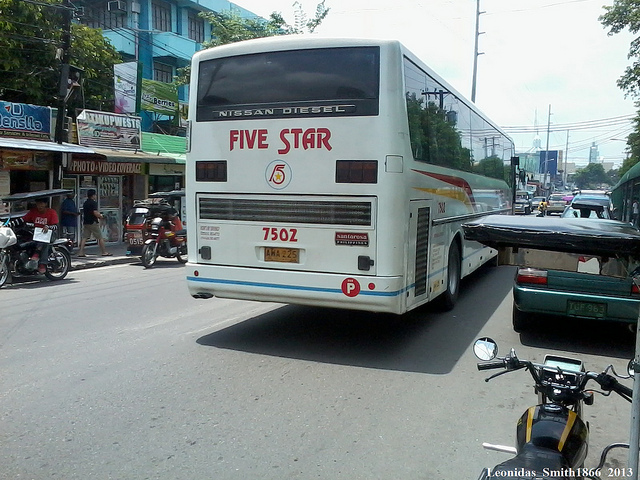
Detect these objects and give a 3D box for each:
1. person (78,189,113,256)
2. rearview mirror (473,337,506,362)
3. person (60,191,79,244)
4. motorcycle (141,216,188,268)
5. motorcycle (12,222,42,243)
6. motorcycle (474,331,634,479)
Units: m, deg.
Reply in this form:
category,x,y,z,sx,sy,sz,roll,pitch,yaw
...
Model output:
category,x,y,z,sx,sy,sz,roll,pitch,yaw
person,-7.862,-0.584,15.023,0.853,2.283,0.924,0,5,-11
rearview mirror,1.119,0.720,2.861,0.216,0.164,0.114,-1,5,-23
person,-8.483,-0.697,14.709,0.454,1.429,0.704,-4,7,-45
motorcycle,-5.098,-0.055,14.581,1.148,1.704,2.833,6,4,11
motorcycle,-7.465,-0.205,11.018,0.249,0.477,0.489,4,6,31
motorcycle,1.959,1.388,3.646,0.816,0.912,1.379,-2,16,20
